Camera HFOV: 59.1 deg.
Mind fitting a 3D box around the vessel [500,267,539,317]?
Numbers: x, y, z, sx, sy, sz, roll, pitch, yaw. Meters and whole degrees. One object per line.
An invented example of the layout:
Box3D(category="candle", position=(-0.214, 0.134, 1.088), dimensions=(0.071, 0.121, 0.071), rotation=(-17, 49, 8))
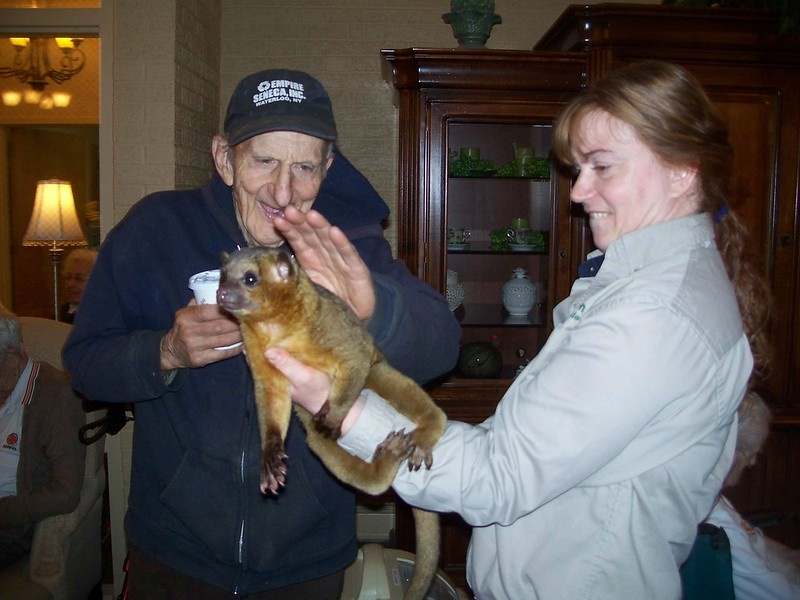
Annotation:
Box3D(category="vessel", position=(0.819, -0.063, 4.940), dimensions=(0.319, 0.401, 0.316), rotation=(0, 1, 6))

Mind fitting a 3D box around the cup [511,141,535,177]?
Box3D(category="cup", position=(0.835, -0.958, 4.798), dimensions=(0.184, 0.201, 0.189), rotation=(2, 8, 0))

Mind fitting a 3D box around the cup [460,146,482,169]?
Box3D(category="cup", position=(0.475, -0.964, 4.729), dimensions=(0.136, 0.143, 0.138), rotation=(1, 6, 0))
